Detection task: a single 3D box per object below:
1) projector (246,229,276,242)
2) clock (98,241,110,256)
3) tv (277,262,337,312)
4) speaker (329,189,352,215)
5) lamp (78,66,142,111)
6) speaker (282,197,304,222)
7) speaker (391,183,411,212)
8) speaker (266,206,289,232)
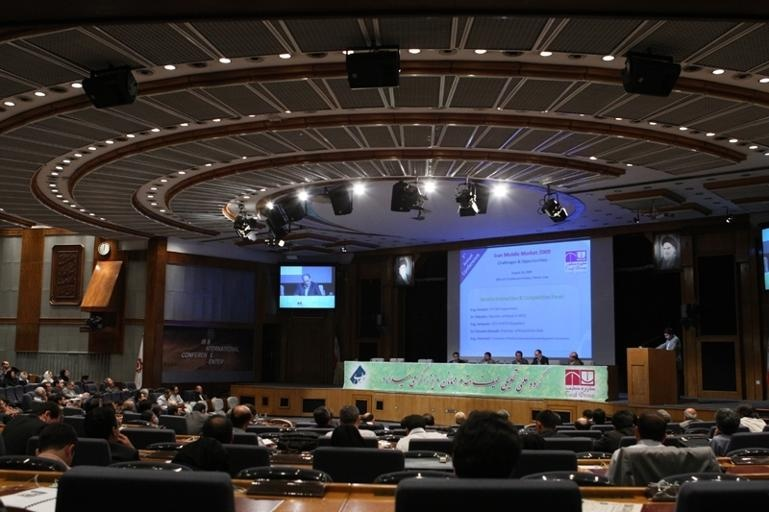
[{"bbox_3d":[-3.727,-0.622,17.425,0.941,0.189,0.908,-1,-5,14],"label":"projector"},{"bbox_3d":[-10.022,-0.265,20.782,0.475,0.400,0.132,-25,-12,3],"label":"clock"},{"bbox_3d":[-2.941,1.204,22.192,2.454,1.552,0.752,0,-2,0],"label":"tv"},{"bbox_3d":[-0.954,-1.268,14.183,0.653,0.610,0.695,1,-1,8],"label":"speaker"},{"bbox_3d":[-3.560,-2.194,7.558,0.761,0.224,0.503,-10,-41,6],"label":"lamp"},{"bbox_3d":[-2.313,-1.289,15.211,0.649,0.534,0.604,-8,-51,0],"label":"speaker"},{"bbox_3d":[0.374,-1.292,12.490,0.382,0.607,0.277,1,0,8],"label":"speaker"},{"bbox_3d":[-2.814,-0.998,15.305,0.546,0.791,0.471,-23,7,-10],"label":"speaker"}]
